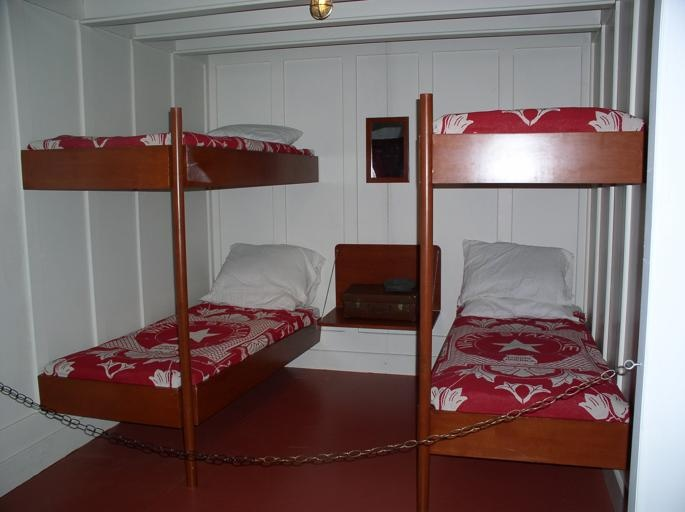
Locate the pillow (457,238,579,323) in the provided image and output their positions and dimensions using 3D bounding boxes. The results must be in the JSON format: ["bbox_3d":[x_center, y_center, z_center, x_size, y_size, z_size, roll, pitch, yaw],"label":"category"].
[{"bbox_3d":[1.408,0.187,4.514,0.729,0.205,0.691,1,51,13],"label":"pillow"}]

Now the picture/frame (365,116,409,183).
[{"bbox_3d":[0.402,-0.940,5.047,0.444,0.566,0.016,7,15,32],"label":"picture/frame"}]

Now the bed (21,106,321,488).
[{"bbox_3d":[-1.232,0.123,4.758,1.626,2.388,2.762,1,5,17],"label":"bed"}]

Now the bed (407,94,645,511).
[{"bbox_3d":[0.934,0.305,3.058,1.114,2.265,0.665,2,12,5],"label":"bed"}]
